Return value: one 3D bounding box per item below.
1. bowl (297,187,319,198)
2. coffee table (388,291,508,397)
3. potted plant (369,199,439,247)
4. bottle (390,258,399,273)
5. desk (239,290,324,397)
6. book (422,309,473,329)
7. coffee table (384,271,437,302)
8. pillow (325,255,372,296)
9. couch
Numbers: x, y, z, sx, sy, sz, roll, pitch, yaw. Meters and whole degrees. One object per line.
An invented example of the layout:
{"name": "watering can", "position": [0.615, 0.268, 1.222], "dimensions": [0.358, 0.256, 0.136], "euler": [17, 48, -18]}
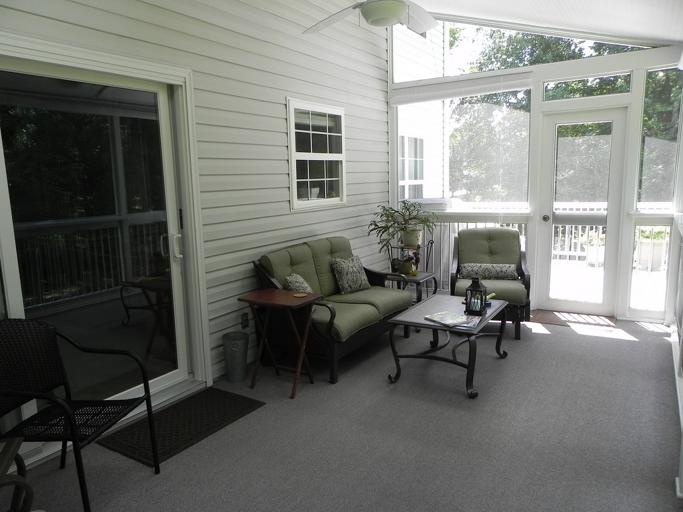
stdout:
{"name": "bowl", "position": [-0.378, -0.708, 5.432], "dimensions": [0.043, 0.148, 0.422], "euler": [6, 16, 28]}
{"name": "coffee table", "position": [0.958, 0.658, 4.492], "dimensions": [0.845, 0.547, 1.078], "euler": [2, 9, 26]}
{"name": "potted plant", "position": [0.817, -0.445, 6.473], "dimensions": [0.756, 0.467, 0.748], "euler": [-1, 0, -5]}
{"name": "bottle", "position": [0.687, 0.119, 6.186], "dimensions": [0.124, 0.134, 0.151], "euler": [-2, -4, 7]}
{"name": "desk", "position": [-0.556, 0.780, 4.369], "dimensions": [0.666, 0.888, 0.605], "euler": [7, 17, 24]}
{"name": "book", "position": [0.956, 0.549, 4.276], "dimensions": [0.388, 0.035, 0.432], "euler": [-5, 14, -15]}
{"name": "coffee table", "position": [0.784, 0.346, 5.752], "dimensions": [0.470, 0.267, 0.530], "euler": [3, 9, 25]}
{"name": "pillow", "position": [0.076, 0.199, 5.221], "dimensions": [0.420, 0.382, 0.126], "euler": [-11, -9, -42]}
{"name": "couch", "position": [-0.093, 0.208, 4.921], "dimensions": [1.242, 1.333, 1.984], "euler": [1, 9, 25]}
